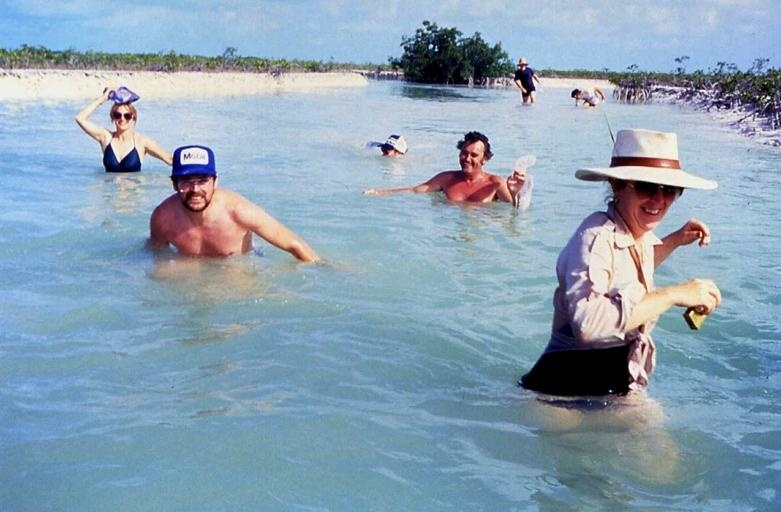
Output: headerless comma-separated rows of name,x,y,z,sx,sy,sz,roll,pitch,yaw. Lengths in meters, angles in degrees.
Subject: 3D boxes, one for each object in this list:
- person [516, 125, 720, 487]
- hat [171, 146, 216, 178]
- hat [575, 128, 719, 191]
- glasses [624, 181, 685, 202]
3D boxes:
person,1.949,0.299,5.876,1.226,2.567,1.173,-5,19,-35
hat,-2.267,-1.088,8.382,0.400,0.239,0.462,1,9,-8
hat,1.976,-0.664,5.857,0.756,0.235,0.680,7,1,-16
glasses,2.120,-0.503,5.719,0.461,0.133,0.149,2,14,-8
